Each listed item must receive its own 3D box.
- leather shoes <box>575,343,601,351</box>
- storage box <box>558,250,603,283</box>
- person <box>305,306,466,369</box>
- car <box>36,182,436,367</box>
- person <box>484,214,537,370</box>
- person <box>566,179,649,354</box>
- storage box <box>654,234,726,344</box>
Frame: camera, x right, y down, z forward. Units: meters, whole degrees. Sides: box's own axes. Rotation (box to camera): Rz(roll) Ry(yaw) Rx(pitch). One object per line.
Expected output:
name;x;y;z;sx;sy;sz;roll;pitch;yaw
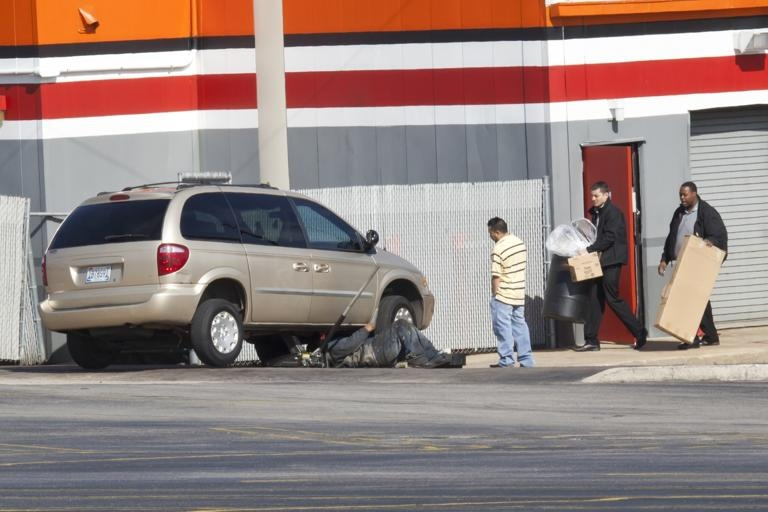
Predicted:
leather shoes;3.220;1.440;25.968;0.372;0.153;0.139;3;1;23
storage box;3.077;0.125;25.623;0.775;0.382;0.528;-10;9;-5
person;0.006;1.345;23.525;1.910;0.774;0.880;-10;-16;14
car;-2.002;0.185;23.717;4.908;2.161;2.588;-3;-2;-43
person;1.867;0.553;23.953;0.651;2.176;0.613;0;10;3
person;3.487;0.212;25.588;0.713;2.681;1.207;-6;12;-28
storage box;4.561;0.516;24.751;1.059;1.671;0.430;-6;12;-28
